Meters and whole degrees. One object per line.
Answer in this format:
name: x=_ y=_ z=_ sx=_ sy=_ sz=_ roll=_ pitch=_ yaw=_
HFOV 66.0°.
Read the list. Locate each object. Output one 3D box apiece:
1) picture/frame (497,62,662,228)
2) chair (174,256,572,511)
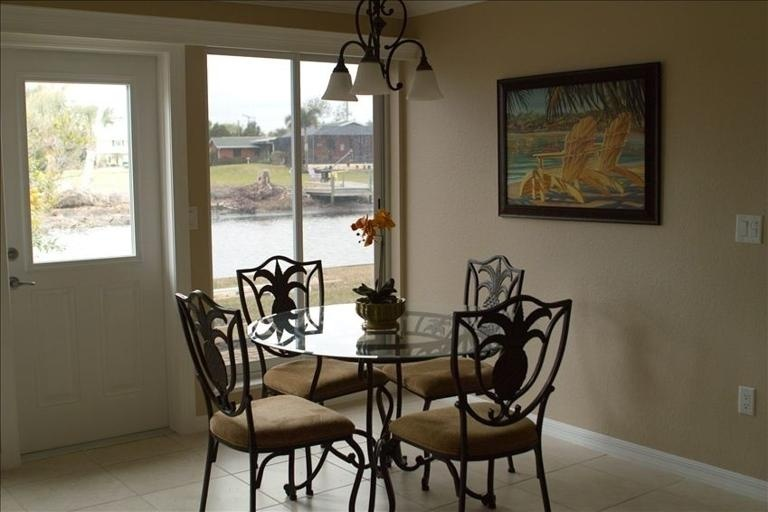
picture/frame: x=1.353 y=-0.763 z=3.987 sx=1.172 sy=0.985 sz=0.079 roll=7 pitch=14 yaw=42
chair: x=-0.054 y=0.796 z=3.492 sx=2.058 sy=1.354 sz=1.196 roll=-1 pitch=7 yaw=1
